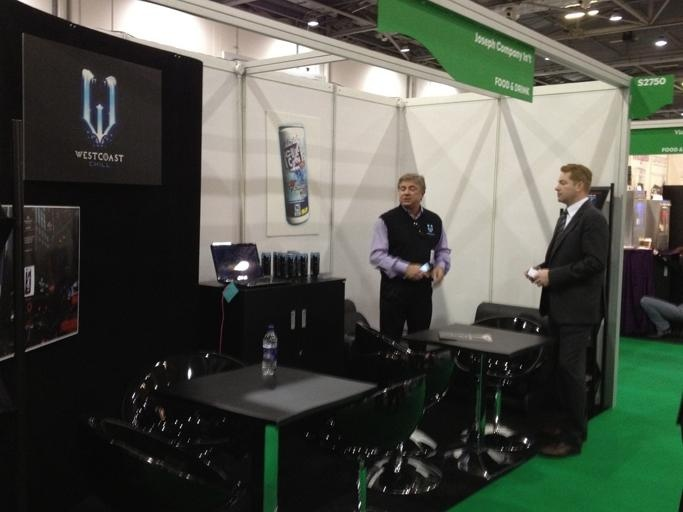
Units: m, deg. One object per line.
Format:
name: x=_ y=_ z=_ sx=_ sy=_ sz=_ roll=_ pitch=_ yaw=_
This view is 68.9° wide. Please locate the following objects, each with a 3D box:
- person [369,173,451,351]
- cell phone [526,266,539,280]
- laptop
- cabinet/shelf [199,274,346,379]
person: x=0.705 y=0.266 z=4.763 sx=0.710 sy=2.129 sz=0.653 roll=-5 pitch=16 yaw=-16
cell phone: x=1.532 y=0.129 z=4.014 sx=0.021 sy=0.089 sz=0.085 roll=5 pitch=30 yaw=-31
laptop: x=-0.846 y=0.038 z=4.085 sx=0.377 sy=0.437 sz=0.246 roll=-1 pitch=-7 yaw=-34
cabinet/shelf: x=-0.565 y=0.507 z=3.789 sx=0.271 sy=0.772 sz=0.795 roll=0 pitch=2 yaw=38
